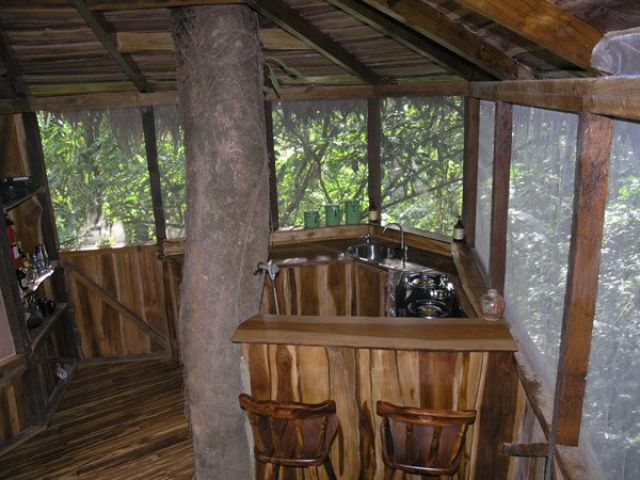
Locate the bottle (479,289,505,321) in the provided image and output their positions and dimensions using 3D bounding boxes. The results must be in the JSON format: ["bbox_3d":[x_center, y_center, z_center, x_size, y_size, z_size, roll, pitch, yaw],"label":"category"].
[{"bbox_3d":[0.903,0.340,2.711,0.137,0.167,0.139,12,23,42],"label":"bottle"}]

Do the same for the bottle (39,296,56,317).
[{"bbox_3d":[-2.337,0.567,4.290,0.088,0.148,0.153,-12,-2,27],"label":"bottle"}]

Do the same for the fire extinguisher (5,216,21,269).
[{"bbox_3d":[-2.334,0.014,3.826,0.061,0.421,0.495,-7,14,-31],"label":"fire extinguisher"}]
